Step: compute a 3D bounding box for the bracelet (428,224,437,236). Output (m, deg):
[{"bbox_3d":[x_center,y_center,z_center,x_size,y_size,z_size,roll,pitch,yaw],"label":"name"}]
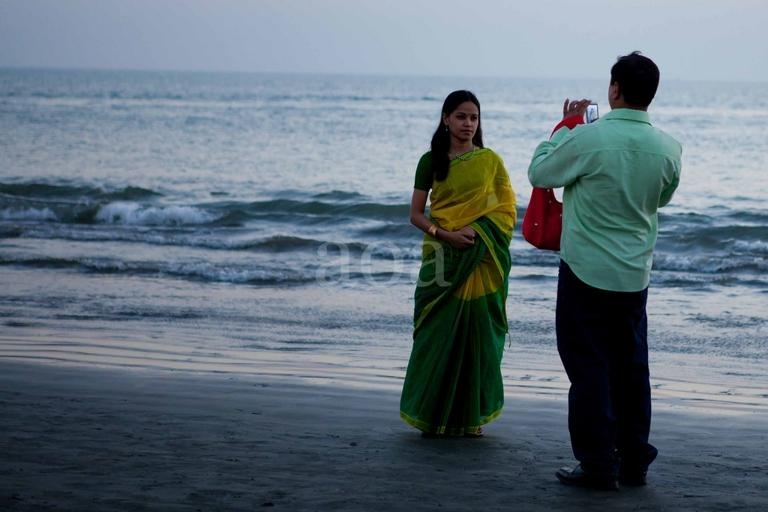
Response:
[{"bbox_3d":[0.666,-0.364,18.651,0.098,0.109,0.116,25,48,27],"label":"bracelet"}]
